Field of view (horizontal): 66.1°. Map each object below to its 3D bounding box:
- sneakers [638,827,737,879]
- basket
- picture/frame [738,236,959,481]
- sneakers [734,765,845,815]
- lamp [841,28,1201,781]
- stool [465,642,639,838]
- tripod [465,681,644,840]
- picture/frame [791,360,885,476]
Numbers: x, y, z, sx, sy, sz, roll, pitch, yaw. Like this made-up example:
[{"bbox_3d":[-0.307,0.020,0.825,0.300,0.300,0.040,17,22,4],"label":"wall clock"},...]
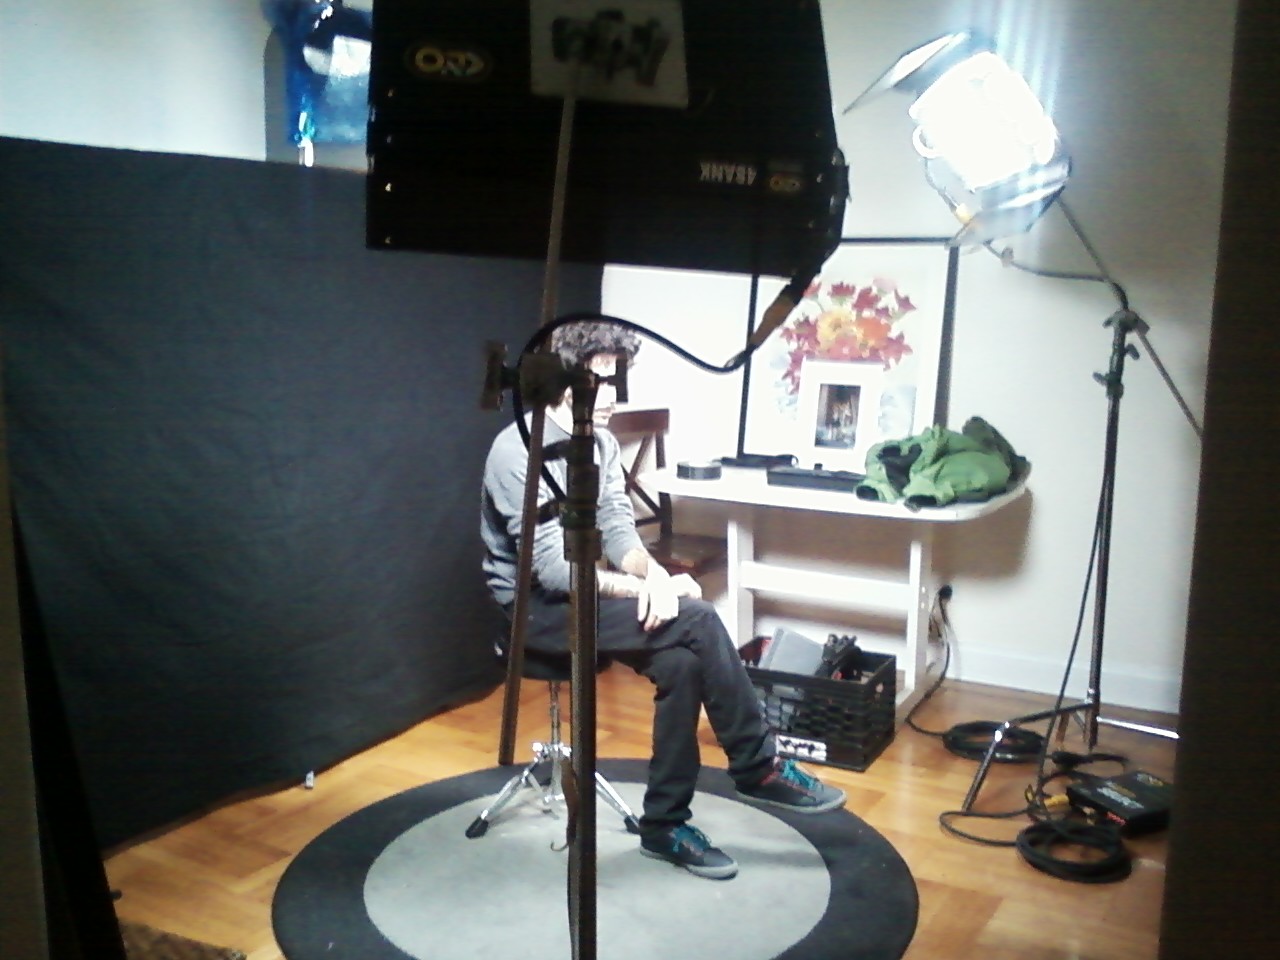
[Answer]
[{"bbox_3d":[0.125,0.941,2.561,0.245,0.105,0.096,6,15,29],"label":"sneakers"},{"bbox_3d":[0.584,0.727,3.184,0.362,0.252,0.380,3,8,21],"label":"basket"},{"bbox_3d":[0.755,-0.403,3.322,0.810,1.027,0.038,3,-4,32],"label":"picture/frame"},{"bbox_3d":[0.429,0.877,2.854,0.328,0.162,0.127,0,15,5],"label":"sneakers"},{"bbox_3d":[1.148,-0.264,3.204,0.879,2.215,0.987,8,14,34],"label":"lamp"},{"bbox_3d":[-0.269,0.718,2.820,0.491,0.620,0.474,0,-1,-1],"label":"stool"},{"bbox_3d":[-0.265,0.839,2.837,0.471,0.630,0.459,0,0,-1],"label":"tripod"},{"bbox_3d":[0.735,-0.220,3.590,0.386,0.556,0.039,1,-9,23],"label":"picture/frame"}]
